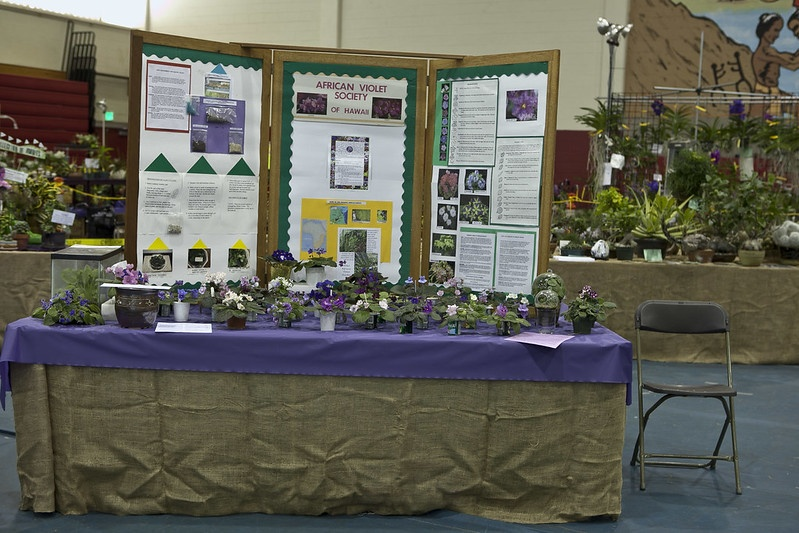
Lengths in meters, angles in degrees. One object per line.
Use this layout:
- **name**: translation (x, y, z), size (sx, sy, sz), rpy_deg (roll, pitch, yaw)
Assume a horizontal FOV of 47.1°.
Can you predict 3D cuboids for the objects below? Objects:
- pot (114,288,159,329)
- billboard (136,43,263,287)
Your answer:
- **pot**: translation (-2.088, 0.326, 7.306), size (0.307, 0.249, 0.311), rpy_deg (0, -2, 0)
- **billboard**: translation (-1.722, -0.768, 7.883), size (1.137, 2.391, 0.071), rpy_deg (0, 30, -15)
